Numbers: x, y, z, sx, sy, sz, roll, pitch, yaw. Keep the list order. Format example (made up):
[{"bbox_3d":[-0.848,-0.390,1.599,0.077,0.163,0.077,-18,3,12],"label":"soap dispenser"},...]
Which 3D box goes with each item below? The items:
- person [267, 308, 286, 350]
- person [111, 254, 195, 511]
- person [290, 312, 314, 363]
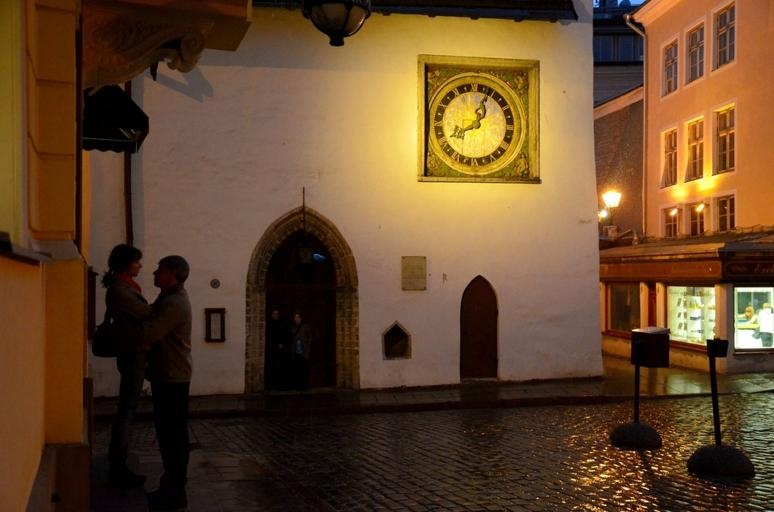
[{"bbox_3d":[-2.464,1.648,19.026,0.453,0.854,0.196,-4,-4,34],"label":"person"},{"bbox_3d":[-2.701,1.527,10.449,0.596,3.098,0.402,-1,-3,-15],"label":"person"},{"bbox_3d":[-1.918,1.790,19.184,0.439,1.076,0.738,-2,-3,-1],"label":"person"}]
